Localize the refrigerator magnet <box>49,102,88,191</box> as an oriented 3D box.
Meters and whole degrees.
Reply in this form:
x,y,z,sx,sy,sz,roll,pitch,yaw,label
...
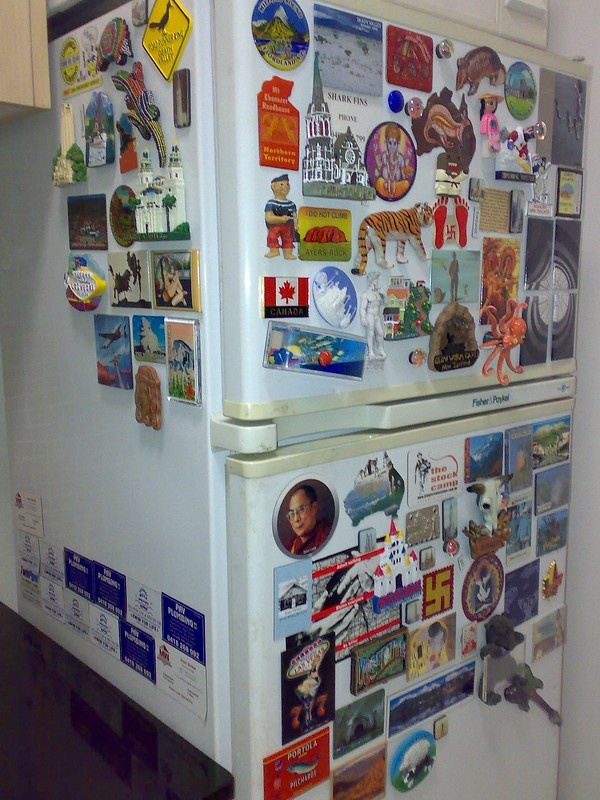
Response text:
x,y,z,sx,sy,sz,roll,pitch,yaw,label
-0.309,-0.338,0.827,0.050,0.102,0.007,2,5,21,refrigerator magnet

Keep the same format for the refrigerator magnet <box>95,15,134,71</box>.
x,y,z,sx,sy,sz,roll,pitch,yaw,label
-0.218,-0.406,0.715,0.071,0.064,0.008,2,-3,32,refrigerator magnet

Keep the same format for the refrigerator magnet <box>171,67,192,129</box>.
x,y,z,sx,sy,sz,roll,pitch,yaw,label
-0.117,-0.300,0.617,0.006,0.088,0.039,-5,12,-30,refrigerator magnet

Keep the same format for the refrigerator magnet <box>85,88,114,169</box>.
x,y,z,sx,sy,sz,roll,pitch,yaw,label
-0.245,-0.332,0.761,0.010,0.127,0.065,-6,13,-39,refrigerator magnet
